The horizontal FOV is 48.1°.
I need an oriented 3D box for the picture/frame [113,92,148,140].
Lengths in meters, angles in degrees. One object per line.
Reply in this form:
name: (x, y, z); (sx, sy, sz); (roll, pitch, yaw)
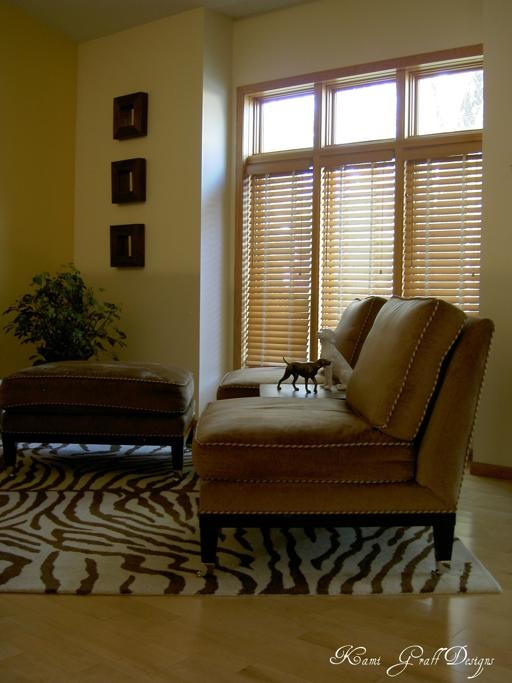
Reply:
picture/frame: (-0.947, -1.723, 4.383); (0.426, 0.389, 0.086); (1, -1, 42)

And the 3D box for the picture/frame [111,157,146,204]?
picture/frame: (-0.969, -1.238, 4.420); (0.083, 0.353, 0.401); (0, 1, -43)

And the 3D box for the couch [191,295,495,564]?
couch: (0.301, 0.271, 2.192); (0.942, 0.780, 0.911); (1, -2, 4)

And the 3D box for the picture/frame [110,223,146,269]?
picture/frame: (-0.983, -0.751, 4.457); (0.382, 0.357, 0.044); (2, 3, 36)
